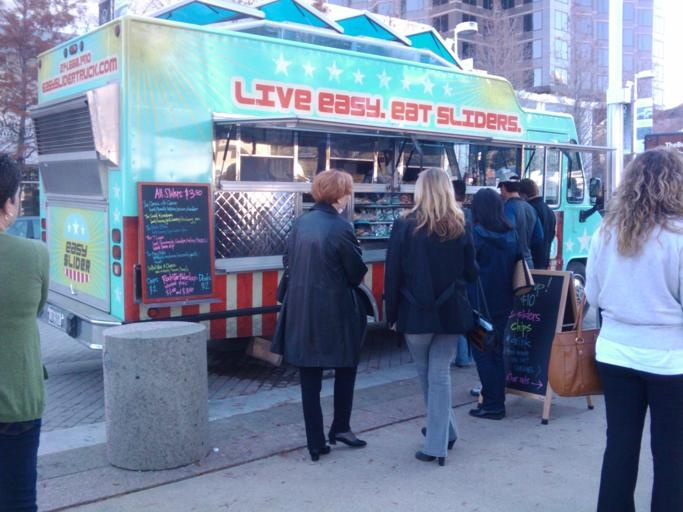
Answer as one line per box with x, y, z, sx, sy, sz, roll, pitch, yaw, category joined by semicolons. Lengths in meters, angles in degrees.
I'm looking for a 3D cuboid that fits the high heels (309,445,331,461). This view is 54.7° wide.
-0.176;1.552;5.280;0.065;0.092;0.204;2;9;24;high heels

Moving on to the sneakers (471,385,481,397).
1.362;1.362;6.720;0.126;0.053;0.133;-2;8;-3;sneakers

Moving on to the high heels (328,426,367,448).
0.035;1.500;5.510;0.346;0.174;0.134;3;-1;-7;high heels

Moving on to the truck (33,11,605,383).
-0.159;-1.136;8.409;6.342;3.623;3.660;-5;7;-37;truck

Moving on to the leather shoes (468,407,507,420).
1.329;1.398;6.034;0.316;0.140;0.122;5;-4;23;leather shoes
